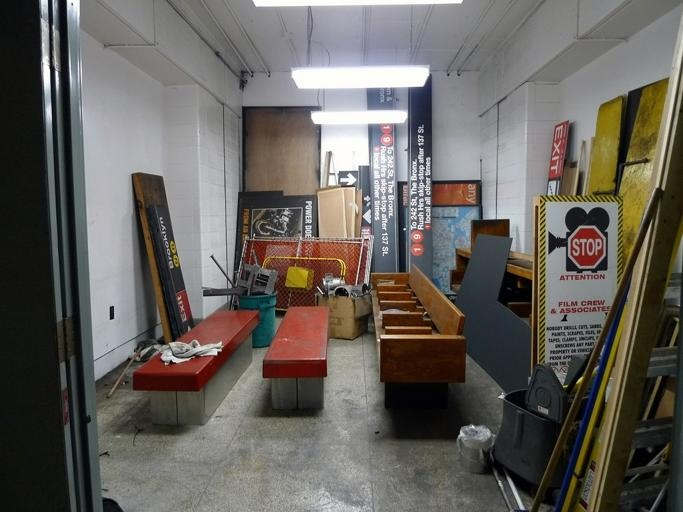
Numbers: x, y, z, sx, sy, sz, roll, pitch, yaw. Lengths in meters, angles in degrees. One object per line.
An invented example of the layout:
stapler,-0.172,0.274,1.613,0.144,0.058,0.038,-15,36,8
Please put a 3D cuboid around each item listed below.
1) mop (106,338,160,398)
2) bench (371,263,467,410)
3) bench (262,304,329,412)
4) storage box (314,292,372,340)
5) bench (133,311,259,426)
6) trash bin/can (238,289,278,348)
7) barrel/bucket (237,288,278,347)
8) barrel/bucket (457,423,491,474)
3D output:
mop,-2.114,1.115,4.915,0.332,0.172,0.955,-9,16,0
bench,0.655,0.666,5.220,0.661,0.793,3.123,0,7,2
bench,-0.379,0.973,4.835,0.530,0.526,1.700,-1,9,-1
storage box,0.089,0.732,6.203,0.648,0.529,0.516,3,8,-5
bench,-1.269,1.017,4.365,0.558,0.603,1.368,2,15,8
trash bin/can,-0.952,0.733,5.811,0.448,0.647,0.487,0,3,4
barrel/bucket,-0.945,0.738,5.804,0.445,0.649,0.526,0,2,3
barrel/bucket,0.943,1.354,3.411,0.215,0.260,0.240,0,-1,-3
